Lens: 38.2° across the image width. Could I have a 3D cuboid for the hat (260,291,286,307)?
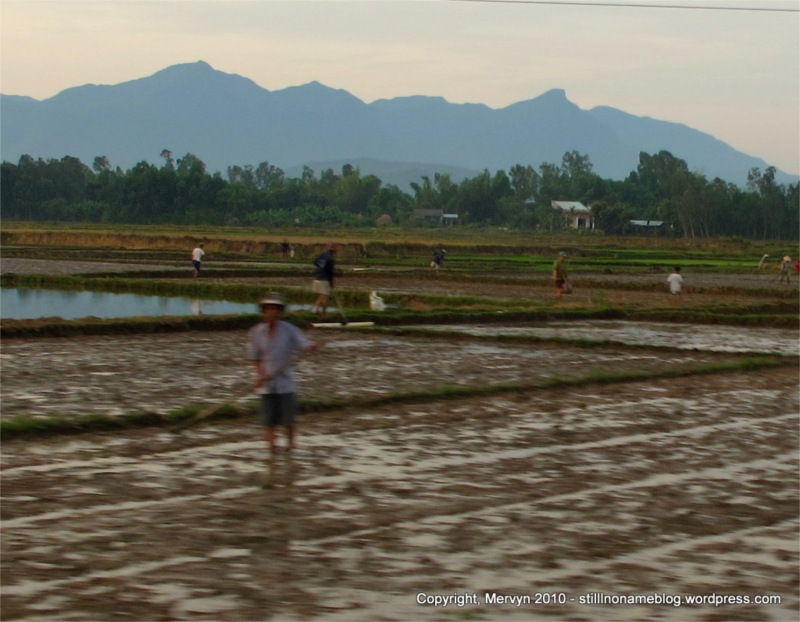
[{"bbox_3d":[-1.710,-0.156,15.545,0.469,0.155,0.463,1,3,-9],"label":"hat"}]
